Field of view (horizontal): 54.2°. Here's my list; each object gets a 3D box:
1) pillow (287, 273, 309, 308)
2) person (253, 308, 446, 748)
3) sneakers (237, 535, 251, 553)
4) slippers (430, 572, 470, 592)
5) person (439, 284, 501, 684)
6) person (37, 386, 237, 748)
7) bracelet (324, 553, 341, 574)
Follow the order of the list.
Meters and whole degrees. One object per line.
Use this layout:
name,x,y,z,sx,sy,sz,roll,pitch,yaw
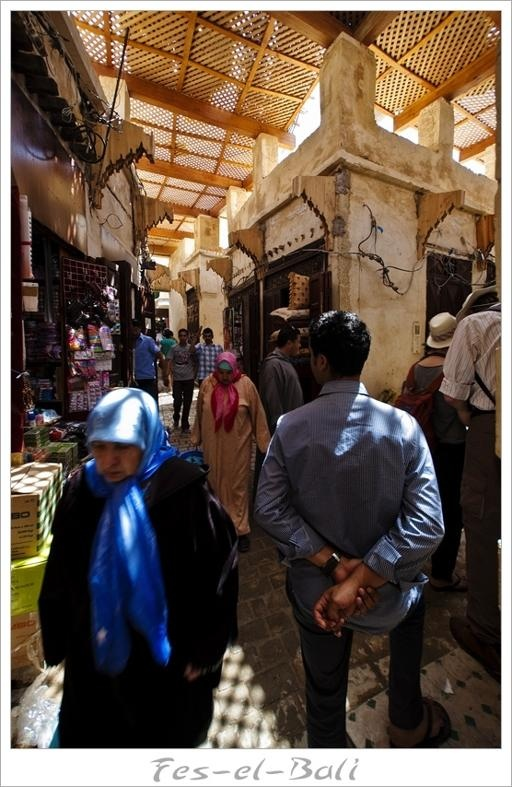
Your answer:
pillow,0.507,-1.204,5.904,0.239,0.431,0.150,-1,3,8
person,0.341,0.578,1.821,0.641,1.746,0.502,0,4,13
sneakers,-0.100,1.160,3.777,0.060,0.089,0.198,-1,-6,-1
slippers,1.201,1.194,3.124,0.158,0.065,0.094,0,3,-2
person,1.132,0.470,2.534,0.220,1.795,0.434,-2,4,-19
person,-0.424,0.730,1.848,0.602,1.567,0.516,3,8,4
bracelet,0.250,0.568,1.652,0.038,0.067,0.059,22,-19,28
